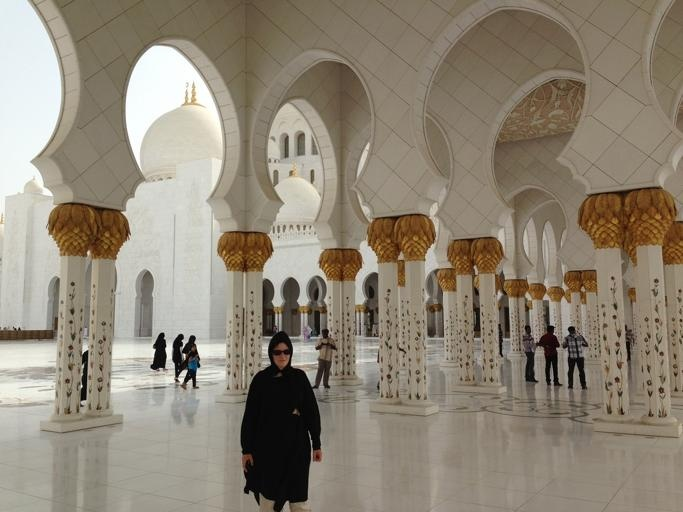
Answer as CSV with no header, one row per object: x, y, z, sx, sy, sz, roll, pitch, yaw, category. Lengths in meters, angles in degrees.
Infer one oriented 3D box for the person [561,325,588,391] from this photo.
4.489,1.882,11.092,0.383,1.264,0.352,0,20,28,person

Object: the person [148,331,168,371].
-4.705,2.439,14.940,0.344,1.007,1.761,3,-13,-18,person
